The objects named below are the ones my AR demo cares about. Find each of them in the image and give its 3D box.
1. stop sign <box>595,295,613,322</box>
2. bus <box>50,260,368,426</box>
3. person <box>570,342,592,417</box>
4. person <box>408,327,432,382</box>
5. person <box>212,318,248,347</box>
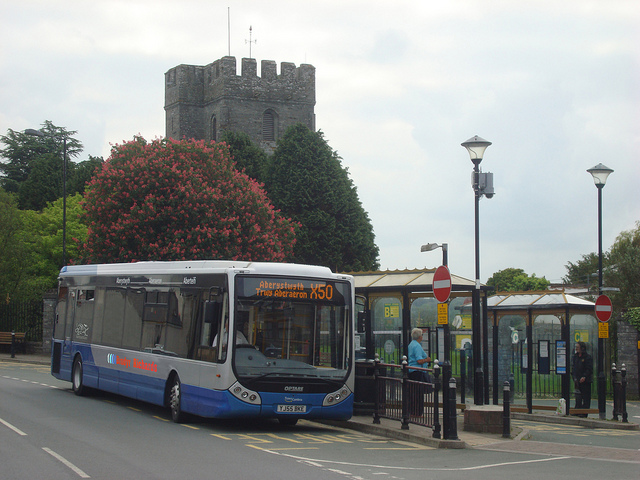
[{"bbox_3d":[8.254,2.045,28.853,0.408,0.818,0.802,-1,-1,32],"label":"stop sign"},{"bbox_3d":[-4.034,2.657,27.324,3.353,4.121,11.561,8,-7,-37],"label":"bus"},{"bbox_3d":[7.740,4.144,29.166,0.585,2.083,1.057,0,0,16],"label":"person"},{"bbox_3d":[2.454,2.870,24.652,0.543,1.229,1.790,0,-1,5],"label":"person"},{"bbox_3d":[-2.114,2.309,22.678,0.941,0.987,0.548,1,-16,-8],"label":"person"}]
